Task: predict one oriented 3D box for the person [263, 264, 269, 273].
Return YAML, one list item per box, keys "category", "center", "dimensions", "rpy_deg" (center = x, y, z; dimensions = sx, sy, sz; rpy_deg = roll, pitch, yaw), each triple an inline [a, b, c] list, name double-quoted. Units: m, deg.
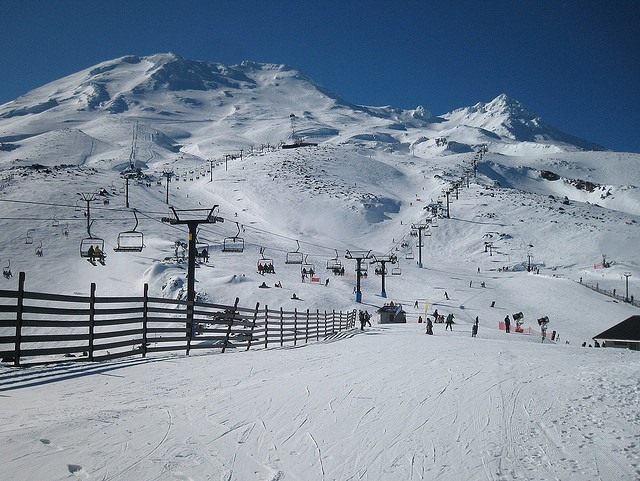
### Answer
- category: "person"
  center: [-4.898, 2.457, 51.076]
  dimensions: [0.192, 0.646, 0.583]
  rpy_deg: [0, 0, 38]
